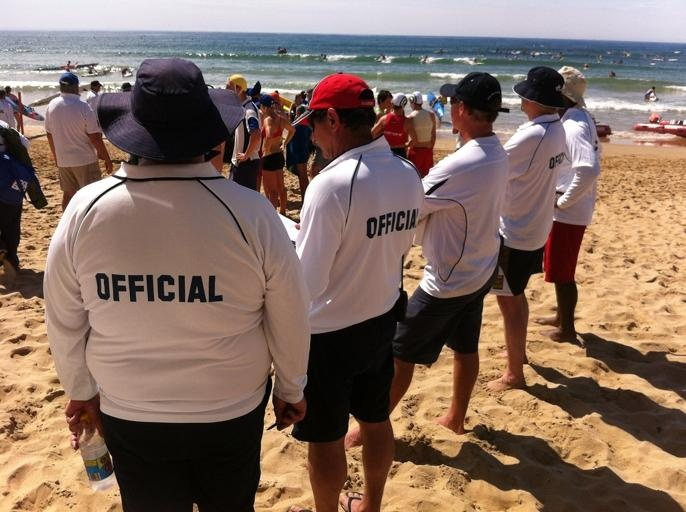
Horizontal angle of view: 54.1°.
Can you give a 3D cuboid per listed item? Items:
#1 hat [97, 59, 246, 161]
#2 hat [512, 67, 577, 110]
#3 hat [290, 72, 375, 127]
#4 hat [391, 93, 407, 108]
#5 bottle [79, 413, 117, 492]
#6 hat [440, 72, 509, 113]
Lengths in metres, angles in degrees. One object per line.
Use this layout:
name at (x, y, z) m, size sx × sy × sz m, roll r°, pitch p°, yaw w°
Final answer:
hat at (-0.822, -0.717, 3.197) m, size 0.725 × 0.313 × 0.823 m, roll 2°, pitch -7°, yaw -17°
hat at (1.528, -1.272, 5.106) m, size 0.373 × 0.194 × 0.364 m, roll 28°, pitch 23°, yaw 2°
hat at (-0.097, -0.947, 3.986) m, size 0.499 × 0.258 × 0.333 m, roll -5°, pitch 12°, yaw 22°
hat at (0.851, -2.305, 10.107) m, size 0.203 × 0.284 × 0.280 m, roll 11°, pitch -5°, yaw 1°
bottle at (-1.356, 1.072, 3.679) m, size 0.152 × 0.500 × 0.085 m, roll -12°, pitch 19°, yaw -24°
hat at (0.891, -1.155, 4.583) m, size 0.311 × 0.200 × 0.453 m, roll -16°, pitch 28°, yaw -31°
